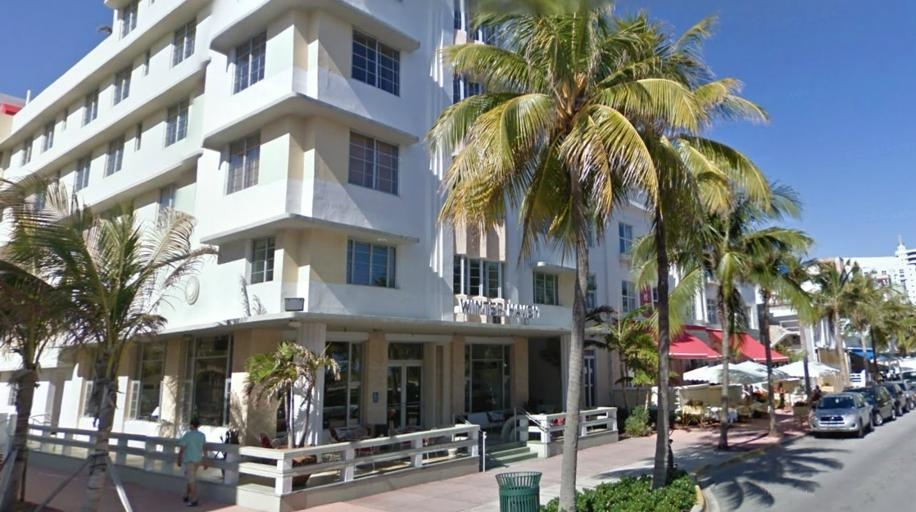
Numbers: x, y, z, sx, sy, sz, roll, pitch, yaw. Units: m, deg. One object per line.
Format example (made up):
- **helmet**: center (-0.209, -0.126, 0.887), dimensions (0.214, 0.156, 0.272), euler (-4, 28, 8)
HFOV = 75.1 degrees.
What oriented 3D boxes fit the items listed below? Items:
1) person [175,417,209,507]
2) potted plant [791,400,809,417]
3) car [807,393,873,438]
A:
- **person**: center (-11.253, 8.701, 25.088), dimensions (1.107, 3.482, 1.510), euler (5, -17, -24)
- **potted plant**: center (23.506, 10.555, 40.813), dimensions (1.136, 1.482, 2.115), euler (-3, -8, 36)
- **car**: center (22.575, 9.353, 35.032), dimensions (4.408, 2.565, 1.913), euler (8, -19, -33)
